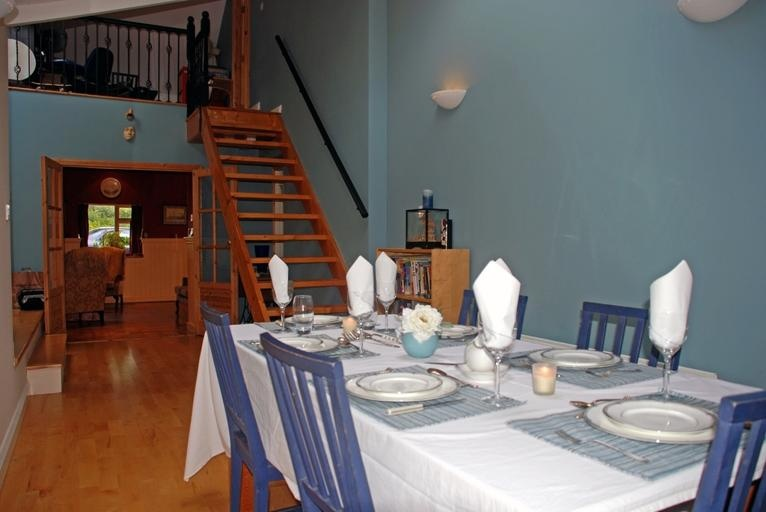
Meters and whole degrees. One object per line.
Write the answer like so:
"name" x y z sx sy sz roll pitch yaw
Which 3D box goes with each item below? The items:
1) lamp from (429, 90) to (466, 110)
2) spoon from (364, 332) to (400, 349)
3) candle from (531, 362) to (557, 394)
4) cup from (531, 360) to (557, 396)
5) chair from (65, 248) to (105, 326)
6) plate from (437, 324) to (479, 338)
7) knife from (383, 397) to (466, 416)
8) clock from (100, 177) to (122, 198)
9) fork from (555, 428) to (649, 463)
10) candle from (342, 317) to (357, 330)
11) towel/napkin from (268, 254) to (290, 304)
"lamp" 0.537 -1.341 4.800 0.153 0.174 0.352 -7 9 -41
"spoon" -0.006 0.430 3.025 0.071 0.018 0.254 -4 4 -27
"candle" 0.646 0.492 2.311 0.105 0.127 0.110 1 3 6
"cup" 0.657 0.504 2.355 0.109 0.132 0.113 1 3 0
"chair" -4.177 0.430 7.969 0.542 1.067 0.275 -4 8 -27
"plate" 0.413 0.418 3.130 0.123 0.018 0.128 -3 9 -13
"knife" 0.151 0.581 2.182 0.220 0.023 0.033 -2 16 -33
"clock" -5.377 -1.355 11.162 0.387 0.411 0.104 -6 9 -37
"fork" 0.762 0.655 1.945 0.248 0.030 0.039 8 -32 9
"candle" -0.183 0.357 3.074 0.064 0.051 0.065 -8 15 -35
"towel/napkin" -0.582 0.138 3.194 0.105 0.300 0.272 -2 7 -11
